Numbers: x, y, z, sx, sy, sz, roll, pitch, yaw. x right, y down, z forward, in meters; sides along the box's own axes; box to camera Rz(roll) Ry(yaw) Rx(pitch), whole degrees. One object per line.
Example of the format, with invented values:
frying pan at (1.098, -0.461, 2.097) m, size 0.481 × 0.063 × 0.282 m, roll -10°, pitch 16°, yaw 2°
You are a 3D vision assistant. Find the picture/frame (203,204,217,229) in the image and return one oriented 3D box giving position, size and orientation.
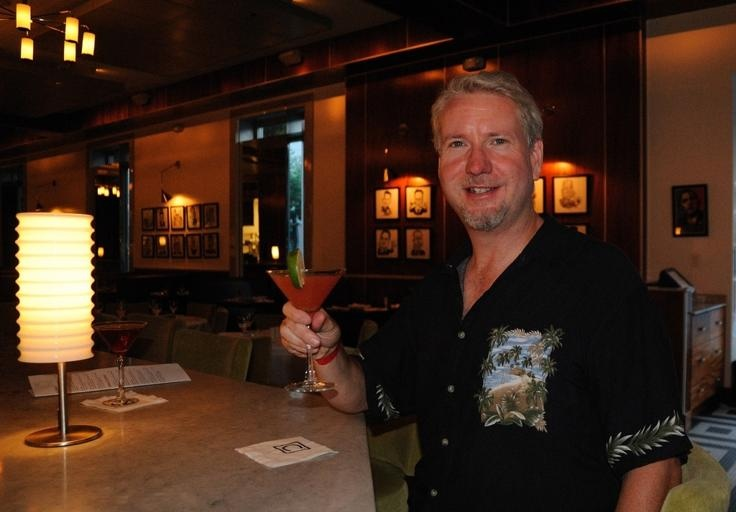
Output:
picture/frame at (-2.611, -0.670, 9.874) m, size 0.394 × 0.419 × 0.046 m, roll 6°, pitch 9°, yaw 41°

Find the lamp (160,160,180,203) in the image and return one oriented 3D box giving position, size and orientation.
lamp at (-3.541, -1.306, 10.572) m, size 0.208 × 0.751 × 0.655 m, roll -8°, pitch 10°, yaw -40°

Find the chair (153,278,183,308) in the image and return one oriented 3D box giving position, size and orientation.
chair at (-2.960, 0.542, 8.762) m, size 0.427 × 0.337 × 0.478 m, roll -2°, pitch -2°, yaw 36°

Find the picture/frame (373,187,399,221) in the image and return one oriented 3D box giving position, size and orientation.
picture/frame at (0.253, -0.657, 7.515) m, size 0.385 × 0.382 × 0.054 m, roll 15°, pitch 4°, yaw 39°

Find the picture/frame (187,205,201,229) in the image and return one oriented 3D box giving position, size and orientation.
picture/frame at (-2.961, -0.679, 10.170) m, size 0.394 × 0.432 × 0.059 m, roll 7°, pitch 11°, yaw 40°

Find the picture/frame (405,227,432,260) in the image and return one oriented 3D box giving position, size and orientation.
picture/frame at (0.626, -0.156, 7.176) m, size 0.392 × 0.416 × 0.058 m, roll 3°, pitch 4°, yaw 39°

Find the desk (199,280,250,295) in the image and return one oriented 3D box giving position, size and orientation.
desk at (-2.084, 0.455, 8.868) m, size 0.869 × 0.250 × 0.290 m, roll 4°, pitch 9°, yaw 33°

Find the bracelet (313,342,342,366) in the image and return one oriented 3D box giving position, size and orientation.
bracelet at (-0.139, 0.344, 2.067) m, size 0.067 × 0.081 × 0.064 m, roll 27°, pitch 15°, yaw -13°

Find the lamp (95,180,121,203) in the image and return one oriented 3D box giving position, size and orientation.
lamp at (-5.044, -1.275, 11.586) m, size 0.334 × 0.156 × 0.436 m, roll 1°, pitch -1°, yaw -7°

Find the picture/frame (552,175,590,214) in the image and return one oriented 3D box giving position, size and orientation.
picture/frame at (2.060, -0.618, 5.963) m, size 0.400 × 0.438 × 0.062 m, roll -4°, pitch -2°, yaw 32°
